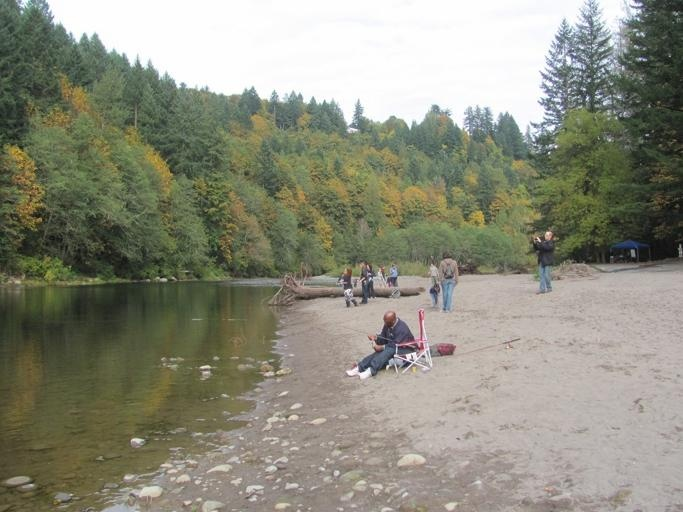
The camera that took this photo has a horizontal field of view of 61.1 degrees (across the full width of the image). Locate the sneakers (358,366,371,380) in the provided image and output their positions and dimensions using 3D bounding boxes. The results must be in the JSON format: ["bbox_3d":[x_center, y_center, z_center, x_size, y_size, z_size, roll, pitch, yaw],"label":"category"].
[{"bbox_3d":[0.678,3.365,16.682,0.357,0.246,0.243,-9,10,-32],"label":"sneakers"}]

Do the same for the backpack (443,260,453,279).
[{"bbox_3d":[4.524,0.550,24.692,0.390,0.811,0.253,-3,8,6],"label":"backpack"}]

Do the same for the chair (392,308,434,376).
[{"bbox_3d":[2.007,2.381,16.981,0.945,1.685,0.963,-8,6,15],"label":"chair"}]
